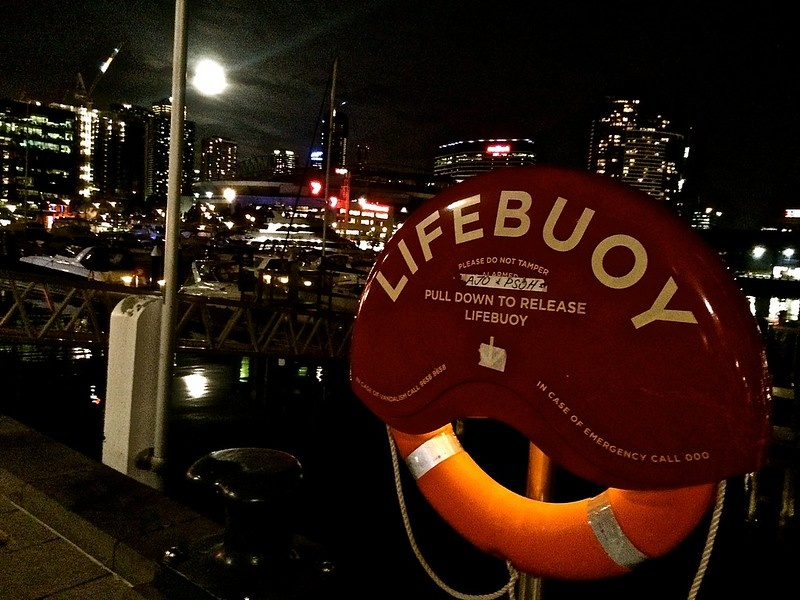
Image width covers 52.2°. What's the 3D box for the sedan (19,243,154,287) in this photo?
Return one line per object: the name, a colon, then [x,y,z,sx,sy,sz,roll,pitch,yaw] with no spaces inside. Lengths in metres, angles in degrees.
sedan: [-9.587,-1.082,24.913,2.867,0.720,1.414,20,15,37]
